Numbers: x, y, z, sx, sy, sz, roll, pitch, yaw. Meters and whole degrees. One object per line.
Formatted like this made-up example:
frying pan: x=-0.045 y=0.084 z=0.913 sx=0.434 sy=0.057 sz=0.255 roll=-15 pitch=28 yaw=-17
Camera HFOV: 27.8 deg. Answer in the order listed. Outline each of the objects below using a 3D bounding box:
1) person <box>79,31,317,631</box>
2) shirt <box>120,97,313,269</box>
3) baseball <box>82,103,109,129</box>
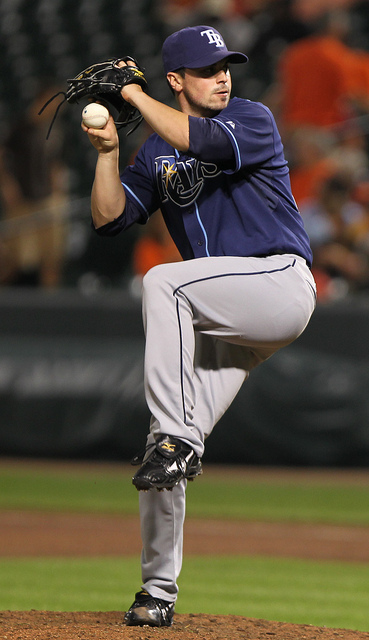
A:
person: x=0.010 y=-0.008 z=2.084 sx=0.592 sy=1.587 sz=0.681 roll=3 pitch=-4 yaw=-28
shirt: x=0.139 y=-0.343 z=2.069 sx=0.465 sy=0.574 sz=0.227 roll=-25 pitch=-12 yaw=33
baseball: x=-0.259 y=-0.565 z=2.084 sx=0.069 sy=0.066 sz=0.066 roll=-11 pitch=52 yaw=-18
